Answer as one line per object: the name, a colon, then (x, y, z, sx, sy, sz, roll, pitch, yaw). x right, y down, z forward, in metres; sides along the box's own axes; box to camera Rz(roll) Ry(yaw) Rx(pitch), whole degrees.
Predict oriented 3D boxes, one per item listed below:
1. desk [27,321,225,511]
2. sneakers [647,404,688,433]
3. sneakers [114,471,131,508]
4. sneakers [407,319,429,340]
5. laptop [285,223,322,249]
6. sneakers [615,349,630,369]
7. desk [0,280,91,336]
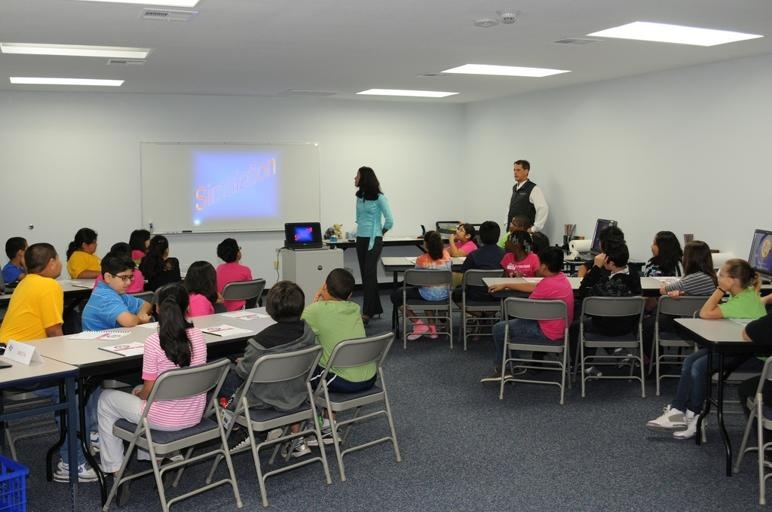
desk: (-2.127, 1.068, 4.025, 1.094, 0.575, 0.810, -7, 16, -44)
sneakers: (2.414, 1.406, 4.698, 0.389, 0.236, 0.154, 1, -25, 11)
sneakers: (-1.846, 1.659, 3.832, 0.104, 0.265, 0.133, 11, 12, 35)
sneakers: (0.433, 0.982, 7.218, 0.149, 0.253, 0.380, -14, -3, -30)
laptop: (-1.266, -0.320, 8.259, 0.648, 0.471, 0.354, 0, -1, -15)
sneakers: (2.660, 1.162, 6.097, 0.097, 0.302, 0.110, -3, -29, 29)
desk: (-3.034, 0.448, 4.778, 0.656, 0.322, 0.350, -3, 8, -42)
